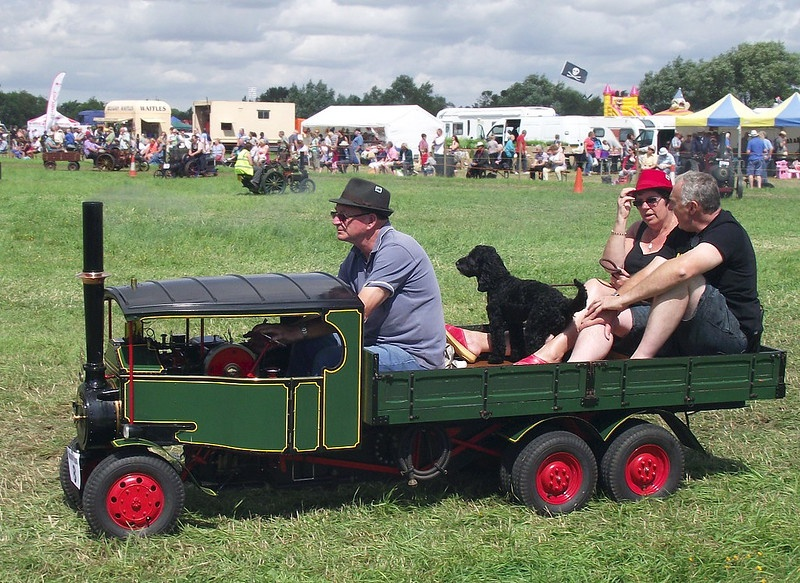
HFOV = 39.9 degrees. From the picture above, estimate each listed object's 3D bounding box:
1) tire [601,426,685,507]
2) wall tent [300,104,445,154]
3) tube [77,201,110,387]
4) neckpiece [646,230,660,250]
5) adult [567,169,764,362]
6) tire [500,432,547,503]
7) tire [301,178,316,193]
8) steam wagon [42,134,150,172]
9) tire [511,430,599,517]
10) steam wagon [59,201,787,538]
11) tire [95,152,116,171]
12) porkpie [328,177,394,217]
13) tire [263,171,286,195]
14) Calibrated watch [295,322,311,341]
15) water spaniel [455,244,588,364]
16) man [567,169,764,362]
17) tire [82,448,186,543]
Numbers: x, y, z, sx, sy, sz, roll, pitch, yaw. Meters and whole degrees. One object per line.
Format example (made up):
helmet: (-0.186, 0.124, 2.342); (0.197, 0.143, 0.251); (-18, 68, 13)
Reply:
tire: (1.855, 1.338, 8.428); (0.646, 0.643, 0.205); (1, 5, -18)
wall tent: (-0.006, -7.386, 49.790); (3.798, 1.675, 2.761); (-13, 9, 17)
tube: (-2.129, 0.018, 7.705); (0.167, 1.288, 0.275); (-2, 5, -17)
neckpiece: (2.151, -0.395, 9.334); (0.025, 0.106, 0.106); (-3, 49, -28)
adult: (2.146, -0.199, 8.802); (1.489, 1.498, 1.050); (-1, 9, -7)
tire: (0.937, 1.295, 8.126); (0.501, 0.505, 0.174); (-2, 9, -25)
tire: (-2.195, -2.548, 26.657); (0.340, 0.340, 0.122); (-28, 0, -38)
steam wagon: (-9.898, -4.332, 35.037); (3.494, 1.300, 1.929); (4, 2, 7)
tire: (1.124, 1.358, 8.146); (0.533, 0.537, 0.190); (13, -4, -21)
steam wagon: (0.475, 0.630, 9.248); (6.263, 2.959, 2.026); (1, 1, -19)
tire: (-9.084, -4.026, 34.348); (0.553, 0.556, 0.170); (5, 4, 34)
porkpie: (-0.245, -0.662, 8.317); (0.362, 0.133, 0.296); (18, 3, -27)
tire: (-2.888, -2.512, 25.502); (0.083, 0.438, 0.441); (3, -39, 45)
Calibrated watch: (-0.678, 0.286, 7.977); (0.085, 0.094, 0.092); (-35, 54, -22)
water spaniel: (0.959, 0.121, 8.634); (1.101, 0.846, 0.343); (8, 8, 35)
man: (2.150, -0.196, 8.792); (1.463, 1.497, 1.062); (-1, 10, -6)
tire: (-1.819, 1.425, 7.584); (0.614, 0.622, 0.237); (3, -1, -9)
